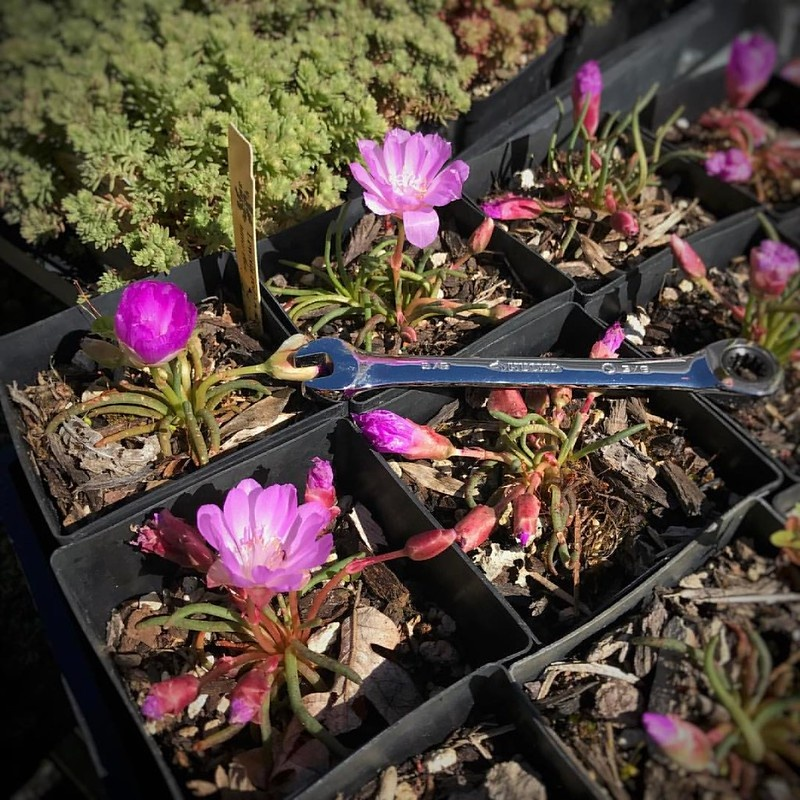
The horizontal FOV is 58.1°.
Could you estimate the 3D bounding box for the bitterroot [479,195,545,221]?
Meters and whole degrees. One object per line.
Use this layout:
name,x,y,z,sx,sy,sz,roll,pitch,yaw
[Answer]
bitterroot,0.175,-0.305,1.195,0.120,0.036,0.056,2,66,-5

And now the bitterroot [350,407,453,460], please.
bitterroot,0.009,0.044,0.864,0.130,0.059,0.038,11,40,-4

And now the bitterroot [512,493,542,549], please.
bitterroot,0.153,0.141,0.857,0.044,0.024,0.064,4,51,9

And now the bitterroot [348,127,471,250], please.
bitterroot,0.005,-0.260,0.872,0.136,0.100,0.146,18,37,4

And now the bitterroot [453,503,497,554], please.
bitterroot,0.086,0.143,0.810,0.036,0.032,0.064,43,81,-3

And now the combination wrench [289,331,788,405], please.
combination wrench,0.162,-0.034,0.917,0.621,0.088,0.034,1,86,6

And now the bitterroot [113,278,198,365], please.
bitterroot,-0.275,-0.090,0.813,0.096,0.069,0.095,-4,77,-12

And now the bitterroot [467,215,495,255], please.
bitterroot,0.115,-0.236,1.066,0.036,0.063,0.031,24,41,-12

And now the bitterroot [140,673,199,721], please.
bitterroot,-0.221,0.287,0.701,0.064,0.044,0.025,-17,51,-35

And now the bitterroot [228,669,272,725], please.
bitterroot,-0.154,0.305,0.733,0.034,0.067,0.044,10,40,-10

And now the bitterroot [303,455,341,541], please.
bitterroot,-0.095,0.115,0.866,0.046,0.087,0.032,10,10,21

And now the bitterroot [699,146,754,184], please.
bitterroot,0.471,-0.334,1.017,0.057,0.019,0.061,8,70,22
